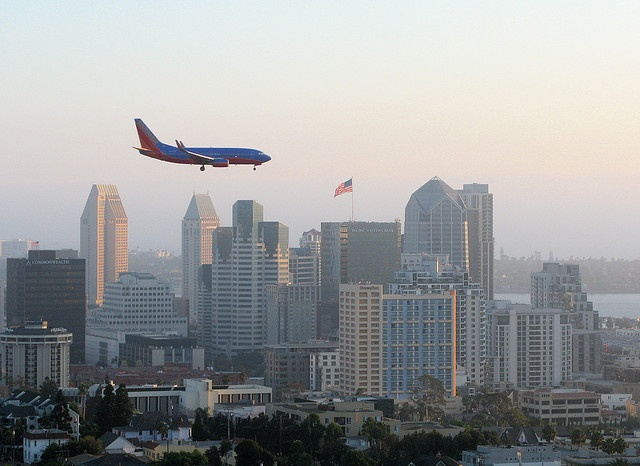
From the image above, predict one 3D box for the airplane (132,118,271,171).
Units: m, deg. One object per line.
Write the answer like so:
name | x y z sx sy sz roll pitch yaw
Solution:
airplane | -17.390 -12.492 255.456 18.814 7.724 10.288 0 -5 -5
